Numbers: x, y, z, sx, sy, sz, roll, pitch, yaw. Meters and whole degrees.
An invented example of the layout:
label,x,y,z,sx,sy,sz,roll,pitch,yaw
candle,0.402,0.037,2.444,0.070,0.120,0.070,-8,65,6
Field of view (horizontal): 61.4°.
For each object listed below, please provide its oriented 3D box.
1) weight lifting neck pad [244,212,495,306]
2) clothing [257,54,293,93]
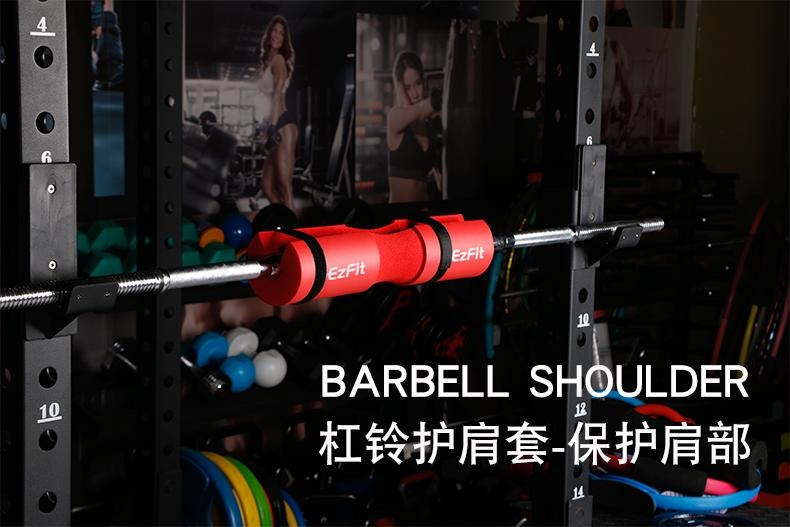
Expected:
label,x,y,z,sx,sy,sz,roll,pitch,yaw
weight lifting neck pad,-0.049,-0.020,1.850,0.704,0.208,0.187,-5,12,-25
clothing,-0.537,-0.849,2.966,0.152,0.144,0.120,2,4,-1
